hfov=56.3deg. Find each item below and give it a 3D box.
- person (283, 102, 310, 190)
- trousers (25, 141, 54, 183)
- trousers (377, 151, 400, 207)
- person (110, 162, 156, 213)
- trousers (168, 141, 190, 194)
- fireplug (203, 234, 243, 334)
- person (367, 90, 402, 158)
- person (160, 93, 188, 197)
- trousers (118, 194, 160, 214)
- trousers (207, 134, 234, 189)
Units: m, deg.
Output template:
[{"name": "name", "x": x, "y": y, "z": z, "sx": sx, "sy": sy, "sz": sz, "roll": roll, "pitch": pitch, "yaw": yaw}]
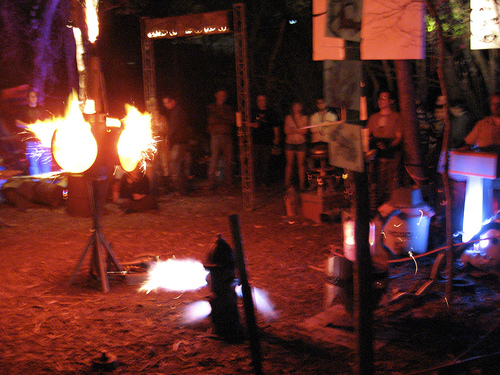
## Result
[{"name": "person", "x": 1.181, "y": -0.994, "z": 11.982, "sx": 0.662, "sy": 2.311, "sz": 1.106, "roll": -1, "pitch": 15, "yaw": 6}, {"name": "trousers", "x": -5.853, "y": -0.803, "z": 12.955, "sx": 0.634, "sy": 1.011, "sz": 1.171, "roll": -9, "pitch": 16, "yaw": -24}, {"name": "trousers", "x": 2.851, "y": -0.229, "z": 9.669, "sx": 0.442, "sy": 1.094, "sz": 0.277, "roll": 1, "pitch": 16, "yaw": 13}, {"name": "person", "x": -2.846, "y": 0.020, "z": 11.380, "sx": 0.947, "sy": 0.973, "sz": 0.872, "roll": -11, "pitch": 16, "yaw": -29}, {"name": "trousers", "x": -1.941, "y": -0.521, "z": 12.576, "sx": 0.461, "sy": 1.479, "sz": 0.409, "roll": -5, "pitch": 15, "yaw": -9}, {"name": "fireplug", "x": -0.329, "y": 1.185, "z": 5.568, "sx": 0.403, "sy": 1.150, "sz": 0.363, "roll": -4, "pitch": 15, "yaw": -4}, {"name": "person", "x": 2.710, "y": -1.254, "z": 9.403, "sx": 0.724, "sy": 1.337, "sz": 0.397, "roll": 4, "pitch": 16, "yaw": 23}, {"name": "person", "x": -2.003, "y": -1.192, "z": 12.721, "sx": 0.511, "sy": 2.730, "sz": 1.173, "roll": -5, "pitch": 15, "yaw": -9}, {"name": "trousers", "x": -2.660, "y": 0.392, "z": 11.242, "sx": 0.704, "sy": 0.259, "sz": 0.481, "roll": -1, "pitch": 6, "yaw": -16}, {"name": "trousers", "x": -0.821, "y": -0.759, "z": 13.176, "sx": 0.505, "sy": 1.564, "sz": 0.876, "roll": 10, "pitch": 19, "yaw": 39}]
